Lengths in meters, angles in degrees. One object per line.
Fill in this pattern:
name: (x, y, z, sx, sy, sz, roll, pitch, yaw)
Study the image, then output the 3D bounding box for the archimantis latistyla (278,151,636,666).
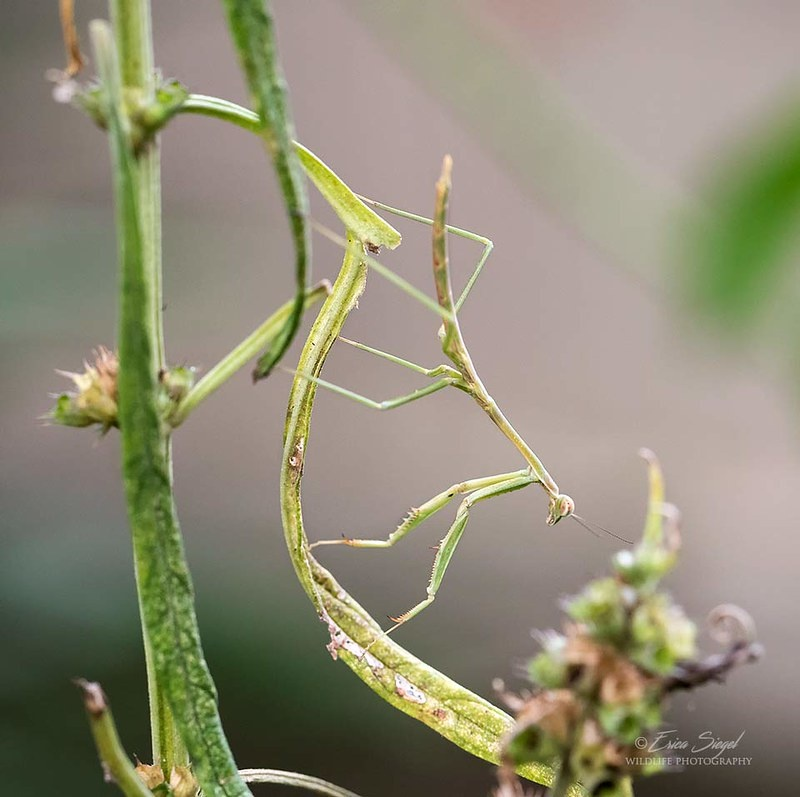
archimantis latistyla: (0.028, 0.016, 0.761, 0.241, 0.410, 0.227, -6, 9, 18)
